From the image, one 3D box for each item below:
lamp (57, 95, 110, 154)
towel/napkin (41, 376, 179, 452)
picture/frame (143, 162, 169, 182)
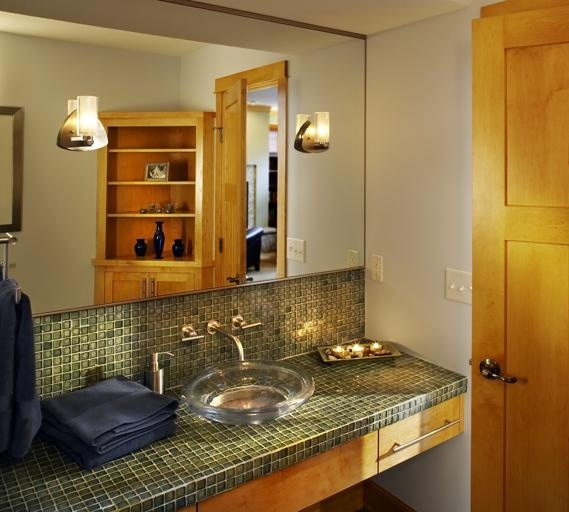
[{"bbox_3d":[-0.676,-0.441,1.623,0.191,0.199,0.102,-3,5,-41],"label":"lamp"},{"bbox_3d":[-0.556,0.469,1.500,0.203,0.065,0.205,5,8,43],"label":"towel/napkin"},{"bbox_3d":[-0.462,-0.301,1.741,0.071,0.067,0.005,-2,4,-26],"label":"picture/frame"}]
